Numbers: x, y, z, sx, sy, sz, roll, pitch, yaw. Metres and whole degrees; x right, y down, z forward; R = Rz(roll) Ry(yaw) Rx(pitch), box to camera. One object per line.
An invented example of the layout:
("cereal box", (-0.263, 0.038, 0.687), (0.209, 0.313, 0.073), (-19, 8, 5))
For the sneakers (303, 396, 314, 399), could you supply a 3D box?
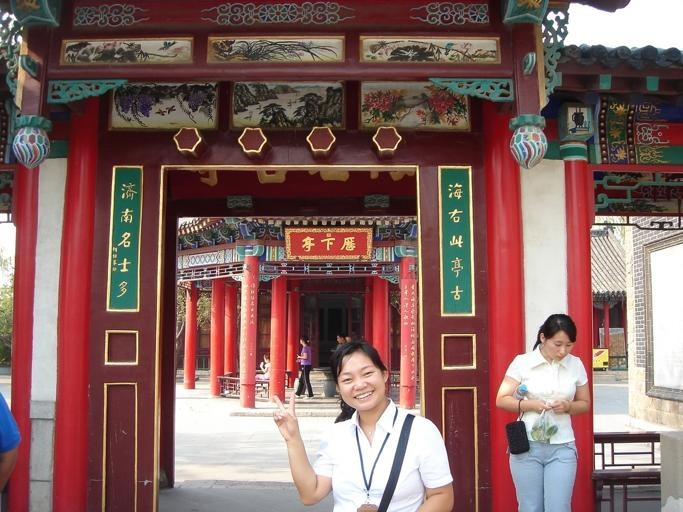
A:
("sneakers", (-0.752, 3.226, 17.819), (0.238, 0.102, 0.080), (4, -36, 12))
